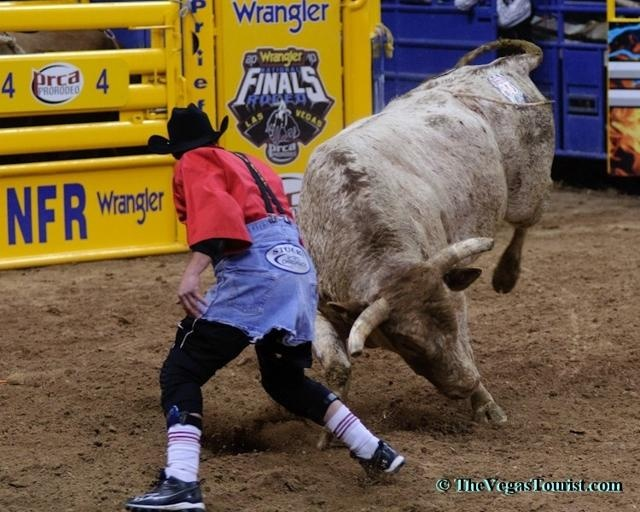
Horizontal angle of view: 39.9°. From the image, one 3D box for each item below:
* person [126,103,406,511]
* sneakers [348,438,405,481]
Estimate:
[{"bbox_3d":[-0.314,0.214,4.433,1.112,1.847,1.259,-3,21,2],"label":"person"},{"bbox_3d":[0.306,1.048,4.611,0.159,0.134,0.323,31,-4,-13],"label":"sneakers"}]
